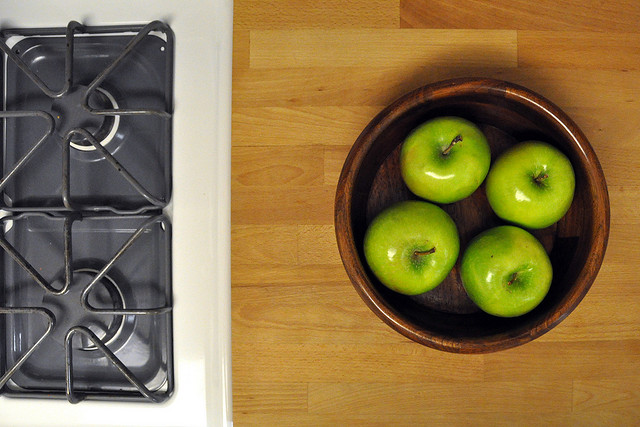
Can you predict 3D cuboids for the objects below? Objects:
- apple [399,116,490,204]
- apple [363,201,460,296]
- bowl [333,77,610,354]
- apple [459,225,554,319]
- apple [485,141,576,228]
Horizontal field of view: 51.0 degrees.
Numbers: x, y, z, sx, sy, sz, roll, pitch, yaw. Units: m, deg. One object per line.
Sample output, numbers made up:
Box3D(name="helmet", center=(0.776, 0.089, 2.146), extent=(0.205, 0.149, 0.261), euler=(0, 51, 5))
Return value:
Box3D(name="apple", center=(0.203, -0.090, 1.150), extent=(0.138, 0.130, 0.158), euler=(6, 4, 15))
Box3D(name="apple", center=(0.146, 0.051, 1.144), extent=(0.147, 0.144, 0.146), euler=(-29, 2, 7))
Box3D(name="bowl", center=(0.261, 0.003, 1.083), extent=(0.456, 0.453, 0.210), euler=(-1, 5, 0))
Box3D(name="apple", center=(0.312, 0.087, 1.151), extent=(0.142, 0.142, 0.142), euler=(-3, 13, 8))
Box3D(name="apple", center=(0.341, -0.048, 1.145), extent=(0.136, 0.134, 0.139), euler=(-8, 7, 2))
